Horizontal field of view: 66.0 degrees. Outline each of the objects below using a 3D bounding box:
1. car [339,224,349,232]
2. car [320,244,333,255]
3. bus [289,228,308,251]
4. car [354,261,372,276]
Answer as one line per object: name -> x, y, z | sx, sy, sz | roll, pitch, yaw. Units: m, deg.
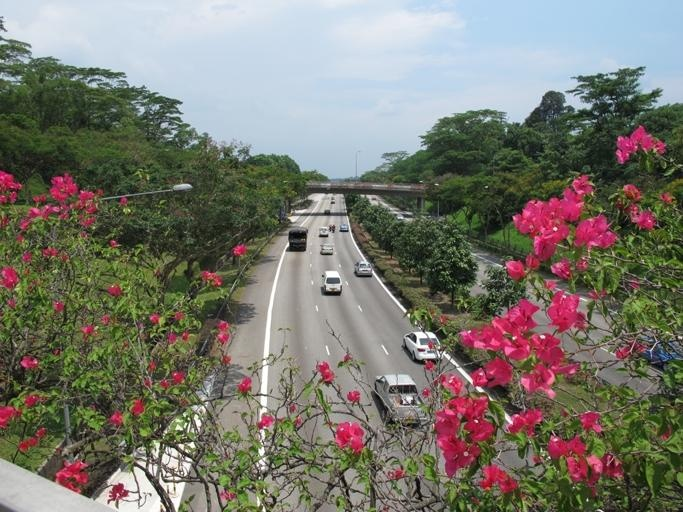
car -> 0.190, -3.696, 69.021 | 1.190, 0.986, 2.790 | 0, 1, -1
car -> -1.378, -0.497, 47.948 | 1.114, 0.714, 1.555 | 1, 9, -4
bus -> -4.195, -1.831, 50.266 | 1.386, 1.603, 2.507 | 1, 21, -2
car -> 1.536, 1.021, 38.871 | 1.283, 0.818, 1.601 | 1, 9, 1
